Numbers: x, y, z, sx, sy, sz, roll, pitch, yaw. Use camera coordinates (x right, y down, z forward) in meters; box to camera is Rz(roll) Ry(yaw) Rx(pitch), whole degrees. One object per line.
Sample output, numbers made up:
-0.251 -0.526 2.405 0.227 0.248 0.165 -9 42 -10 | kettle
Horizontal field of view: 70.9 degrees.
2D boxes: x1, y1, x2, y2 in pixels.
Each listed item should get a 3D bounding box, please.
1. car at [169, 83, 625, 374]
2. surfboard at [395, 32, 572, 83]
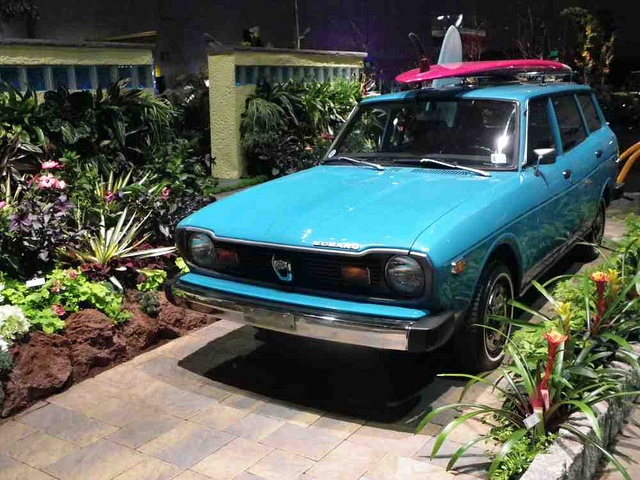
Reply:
1.484 -0.481 4.774 2.366 2.411 5.420 11 18 41 | car
1.886 -1.938 5.109 2.075 0.268 0.608 -7 14 -25 | surfboard
